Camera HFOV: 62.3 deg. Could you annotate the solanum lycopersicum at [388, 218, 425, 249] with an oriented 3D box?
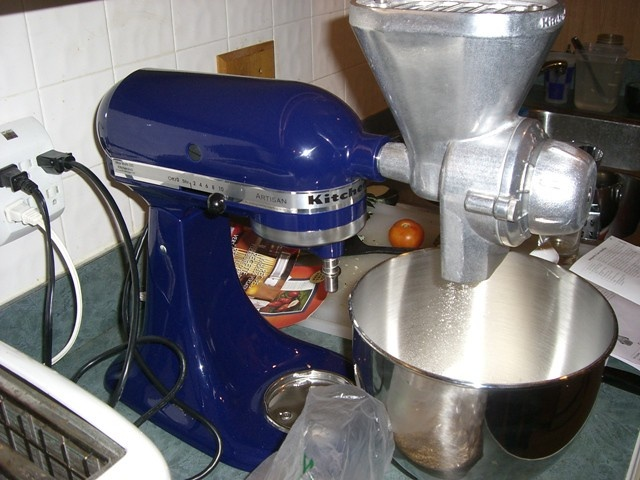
[{"bbox_3d":[0.180,-0.013,1.121,0.075,0.079,0.084,2,57,7],"label":"solanum lycopersicum"}]
